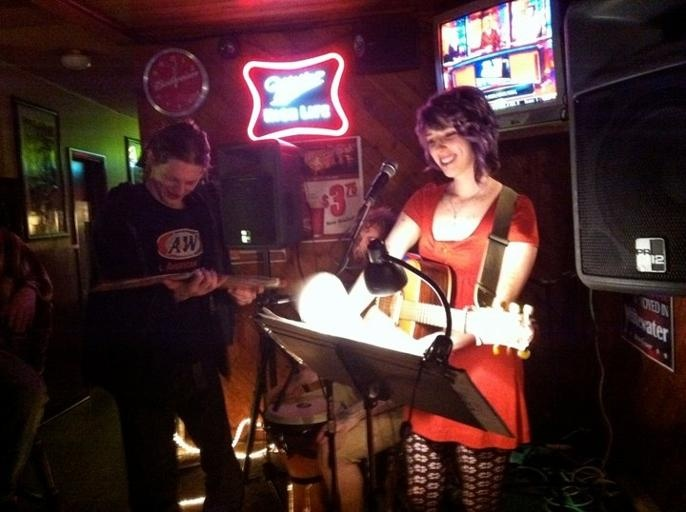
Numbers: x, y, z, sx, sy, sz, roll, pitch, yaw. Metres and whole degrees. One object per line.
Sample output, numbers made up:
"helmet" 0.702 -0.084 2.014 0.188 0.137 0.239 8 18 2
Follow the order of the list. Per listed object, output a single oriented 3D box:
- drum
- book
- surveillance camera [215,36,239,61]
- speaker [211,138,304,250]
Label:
"drum" -0.239 1.075 3.521 0.580 0.671 0.705 -1 8 3
"book" -1.048 0.166 3.702 0.969 0.174 0.132 0 22 -10
"surveillance camera" -0.836 -1.523 4.208 0.159 0.151 0.037 -2 5 4
"speaker" -0.570 -0.416 4.043 0.601 0.720 0.624 -4 7 -10
